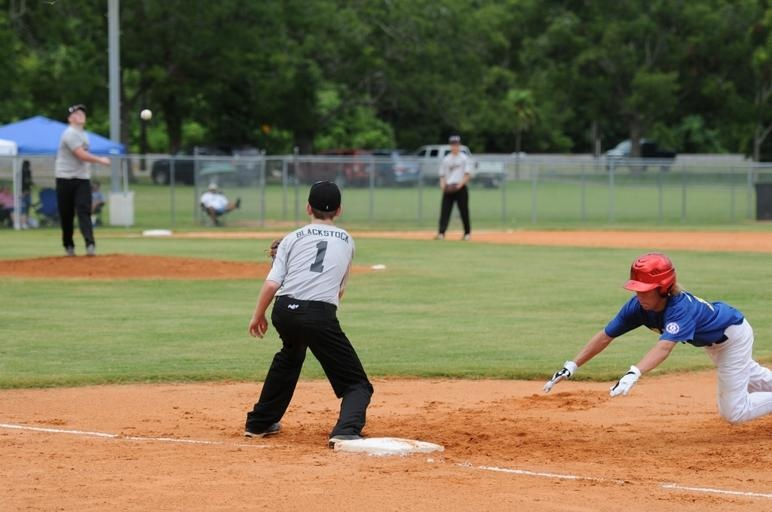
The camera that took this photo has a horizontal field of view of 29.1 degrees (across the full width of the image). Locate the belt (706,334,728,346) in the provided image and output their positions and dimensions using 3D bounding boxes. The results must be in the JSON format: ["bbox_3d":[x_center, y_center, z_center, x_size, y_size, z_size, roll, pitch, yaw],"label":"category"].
[{"bbox_3d":[7.459,1.899,33.342,0.338,0.070,0.230,-21,5,10],"label":"belt"}]
